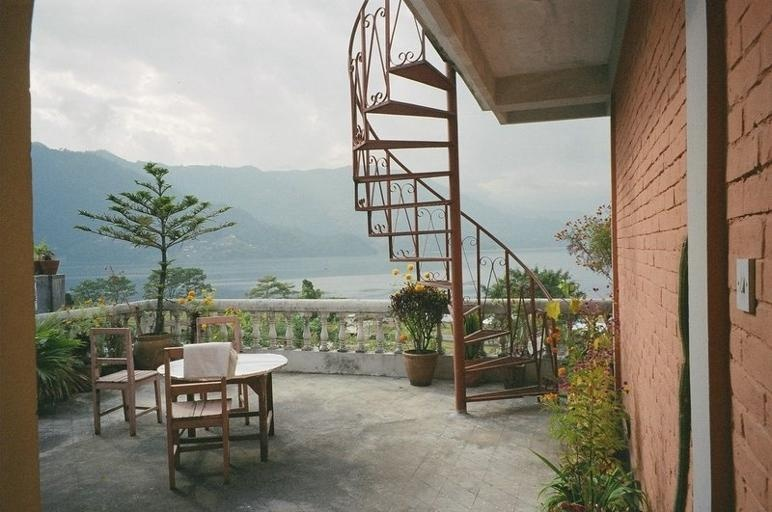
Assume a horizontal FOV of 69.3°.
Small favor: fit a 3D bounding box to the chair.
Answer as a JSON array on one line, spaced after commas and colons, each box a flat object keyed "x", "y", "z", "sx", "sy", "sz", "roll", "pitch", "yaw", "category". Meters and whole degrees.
[{"x": -1.680, "y": 1.108, "z": 4.731, "sx": 1.195, "sy": 0.787, "sz": 1.241, "roll": 3, "pitch": 6, "yaw": 9, "category": "chair"}]

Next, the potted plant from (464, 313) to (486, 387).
[{"x": 1.016, "y": 1.078, "z": 6.452, "sx": 0.238, "sy": 0.783, "sz": 0.644, "roll": 0, "pitch": 5, "yaw": 10, "category": "potted plant"}]

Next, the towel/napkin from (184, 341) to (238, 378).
[{"x": -1.395, "y": 0.839, "z": 4.360, "sx": 0.394, "sy": 0.303, "sz": 0.337, "roll": -5, "pitch": -15, "yaw": 2, "category": "towel/napkin"}]

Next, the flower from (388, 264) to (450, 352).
[{"x": 0.423, "y": 0.753, "z": 6.691, "sx": 0.490, "sy": 0.749, "sz": 0.598, "roll": 3, "pitch": -5, "yaw": 2, "category": "flower"}]

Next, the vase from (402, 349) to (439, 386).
[{"x": 0.411, "y": 1.332, "z": 6.561, "sx": 0.444, "sy": 0.344, "sz": 0.451, "roll": 2, "pitch": -7, "yaw": -20, "category": "vase"}]
